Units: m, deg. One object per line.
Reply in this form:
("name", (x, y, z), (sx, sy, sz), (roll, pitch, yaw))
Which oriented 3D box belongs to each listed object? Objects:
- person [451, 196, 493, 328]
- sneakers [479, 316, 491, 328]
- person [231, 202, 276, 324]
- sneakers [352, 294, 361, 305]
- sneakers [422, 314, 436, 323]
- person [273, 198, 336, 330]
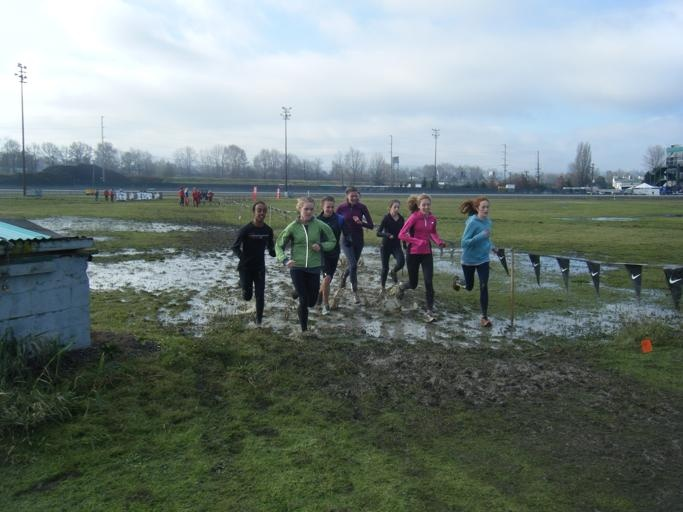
("person", (2.287, 0.078, 11.073), (0.543, 2.135, 0.715), (2, 8, 10))
("sneakers", (2.437, 1.095, 10.993), (0.185, 0.165, 0.287), (2, 9, 11))
("person", (-1.384, 0.120, 10.437), (0.735, 1.995, 0.472), (-4, 9, -28))
("sneakers", (0.284, 0.810, 12.354), (0.123, 0.194, 0.257), (-9, 1, -20))
("sneakers", (1.521, 1.080, 11.194), (0.087, 0.119, 0.253), (2, -16, -7))
("person", (-0.546, 0.123, 10.202), (0.951, 2.069, 0.590), (-4, 9, -28))
